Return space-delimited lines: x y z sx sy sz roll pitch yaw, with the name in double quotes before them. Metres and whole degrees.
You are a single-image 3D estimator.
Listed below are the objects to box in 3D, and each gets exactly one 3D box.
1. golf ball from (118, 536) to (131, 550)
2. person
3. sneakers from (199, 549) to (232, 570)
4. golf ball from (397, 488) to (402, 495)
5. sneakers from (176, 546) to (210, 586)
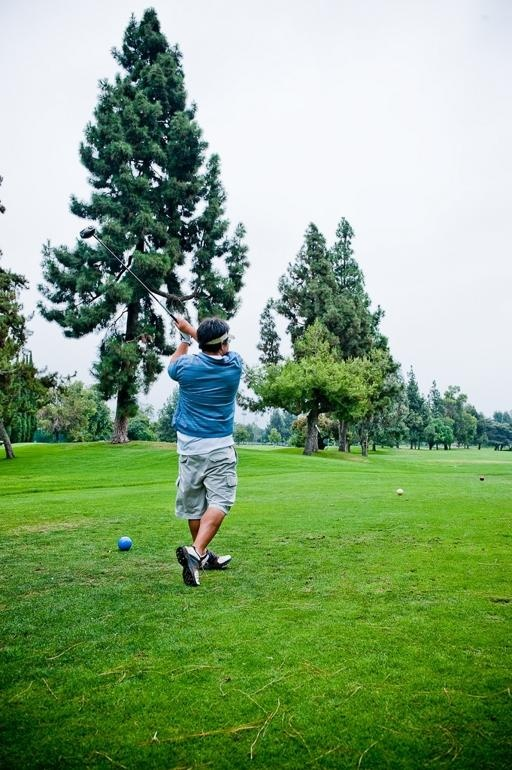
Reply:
"golf ball" -1.093 1.328 5.534 0.099 0.102 0.103 2 -30 1
"person" -0.412 0.398 4.955 0.564 1.934 1.102 2 -4 -3
"sneakers" -0.300 1.295 4.912 0.292 0.135 0.103 4 -3 -41
"golf ball" 2.466 1.831 11.322 0.091 0.090 0.108 -6 -28 29
"sneakers" -0.430 1.179 4.366 0.162 0.320 0.108 -11 1 -12
